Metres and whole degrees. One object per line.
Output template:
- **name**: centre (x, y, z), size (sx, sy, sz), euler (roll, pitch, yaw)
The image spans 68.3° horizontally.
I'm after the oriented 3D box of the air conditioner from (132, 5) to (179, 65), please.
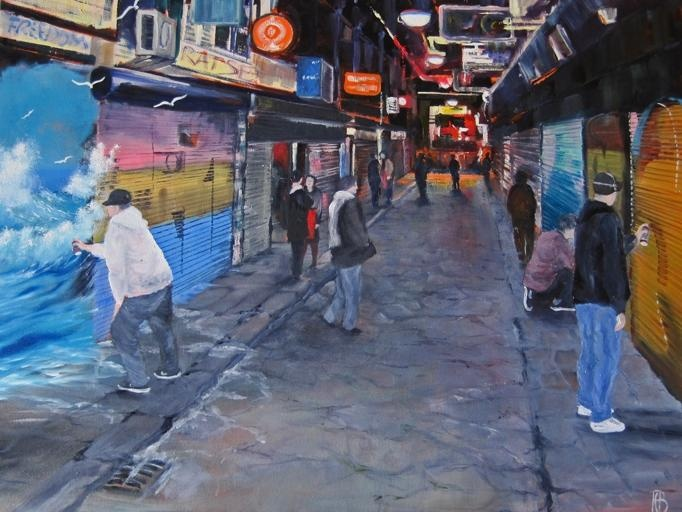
- **air conditioner**: centre (-2.744, -3.232, 7.370), size (0.411, 0.809, 1.235), euler (2, 7, 4)
